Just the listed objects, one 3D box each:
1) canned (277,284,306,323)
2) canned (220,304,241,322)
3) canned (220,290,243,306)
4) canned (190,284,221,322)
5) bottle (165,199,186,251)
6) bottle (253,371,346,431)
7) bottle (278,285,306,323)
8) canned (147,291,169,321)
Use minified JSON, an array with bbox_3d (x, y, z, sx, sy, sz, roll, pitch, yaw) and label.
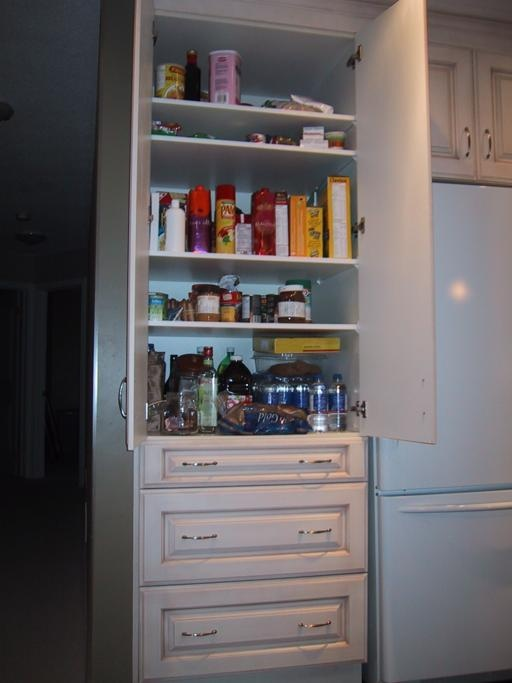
[{"bbox_3d":[0.115,-0.121,2.093,0.105,0.132,0.104,6,-6,-44],"label":"canned"},{"bbox_3d":[-0.080,-0.096,2.007,0.051,0.063,0.054,4,6,28],"label":"canned"},{"bbox_3d":[-0.077,-0.137,1.998,0.043,0.035,0.046,-1,0,30],"label":"canned"},{"bbox_3d":[-0.151,-0.123,2.028,0.104,0.134,0.112,-1,-3,5],"label":"canned"},{"bbox_3d":[-0.249,-0.356,1.938,0.081,0.166,0.062,-6,0,-29],"label":"bottle"},{"bbox_3d":[0.150,0.196,2.027,0.194,0.139,0.204,0,-10,0],"label":"bottle"},{"bbox_3d":[0.114,-0.121,2.088,0.104,0.130,0.104,2,-4,0],"label":"bottle"},{"bbox_3d":[-0.303,-0.110,1.923,0.072,0.085,0.064,-1,-3,-6],"label":"canned"}]
